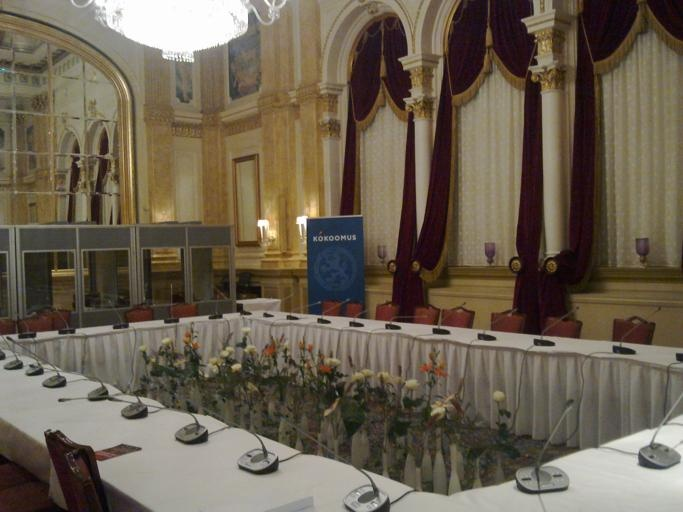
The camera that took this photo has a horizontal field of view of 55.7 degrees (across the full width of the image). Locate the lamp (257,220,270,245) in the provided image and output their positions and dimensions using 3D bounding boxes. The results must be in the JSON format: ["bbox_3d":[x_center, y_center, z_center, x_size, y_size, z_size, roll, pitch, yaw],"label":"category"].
[{"bbox_3d":[-1.475,-0.455,12.258,0.184,0.486,0.553,-1,0,-11],"label":"lamp"}]
